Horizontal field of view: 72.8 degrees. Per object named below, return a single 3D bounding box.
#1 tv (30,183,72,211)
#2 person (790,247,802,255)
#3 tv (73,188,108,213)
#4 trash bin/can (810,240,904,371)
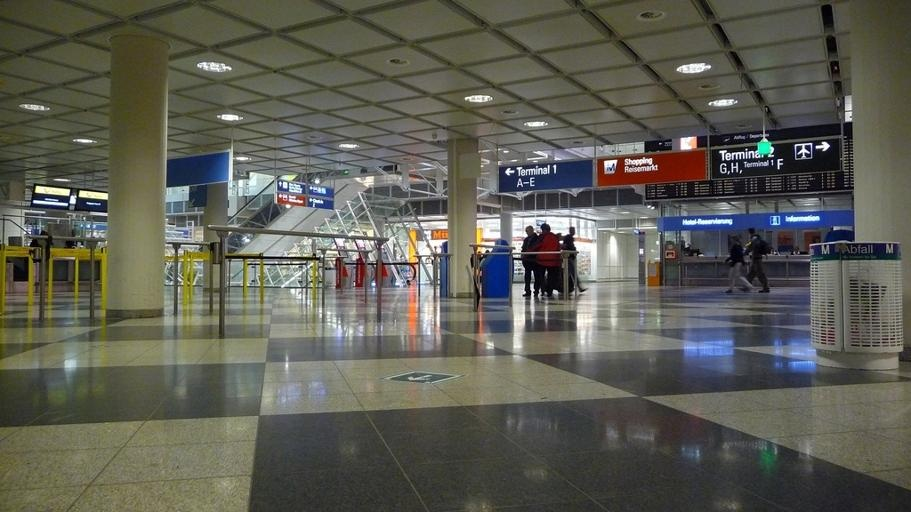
[{"bbox_3d":[-15.710,-2.284,23.962,1.460,0.849,0.197,5,-15,-39],"label":"tv"},{"bbox_3d":[14.845,-0.223,26.835,0.318,0.250,0.811,-13,7,31],"label":"person"},{"bbox_3d":[-14.609,-2.222,24.833,0.482,0.961,1.245,6,11,24],"label":"tv"},{"bbox_3d":[4.618,0.545,7.110,1.006,1.416,0.665,6,12,25],"label":"trash bin/can"}]
